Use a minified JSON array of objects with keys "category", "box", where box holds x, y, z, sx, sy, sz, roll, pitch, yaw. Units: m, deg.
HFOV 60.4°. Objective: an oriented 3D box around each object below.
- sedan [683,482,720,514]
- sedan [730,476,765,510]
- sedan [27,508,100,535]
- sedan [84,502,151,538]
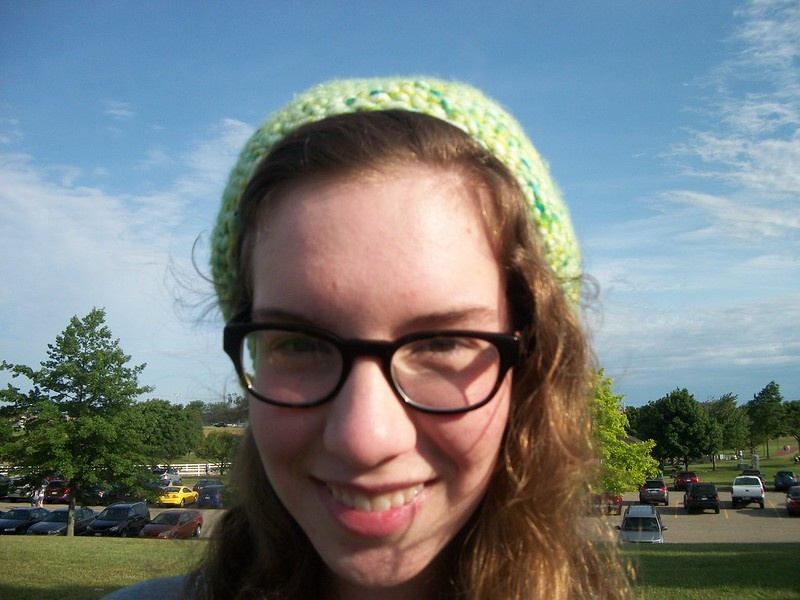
[{"category":"sedan","box":[14.552,9.475,33.290,1.030,0.901,2.097,-1,-3,12]},{"category":"sedan","box":[17.571,9.617,34.919,1.135,0.979,2.299,-5,-16,18]},{"category":"sedan","box":[-13.109,8.609,26.917,0.951,0.670,2.064,-1,-12,6]},{"category":"sedan","box":[-10.642,8.426,26.510,1.146,0.882,1.872,-4,-16,12]}]
